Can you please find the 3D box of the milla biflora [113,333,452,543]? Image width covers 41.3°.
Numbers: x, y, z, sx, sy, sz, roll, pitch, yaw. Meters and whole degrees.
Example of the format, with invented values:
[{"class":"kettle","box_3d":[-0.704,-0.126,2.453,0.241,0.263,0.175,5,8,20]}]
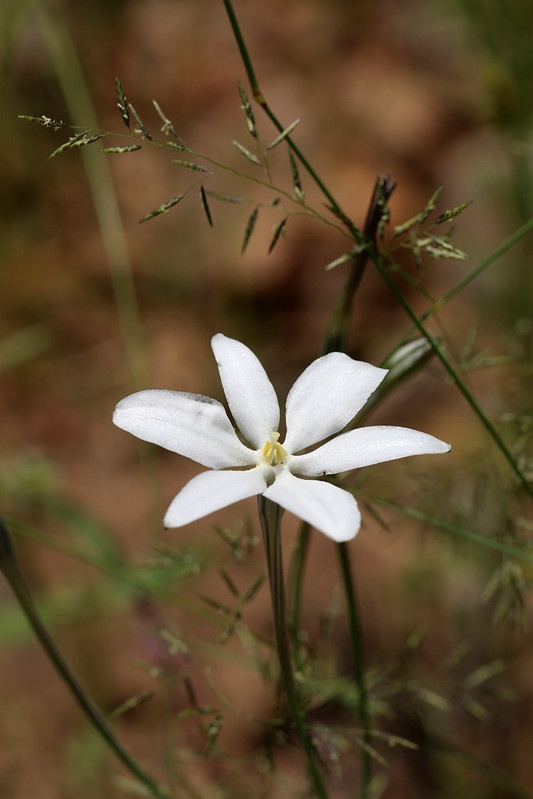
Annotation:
[{"class":"milla biflora","box_3d":[0.007,0.073,1.291,0.513,0.131,0.485,34,51,27]}]
